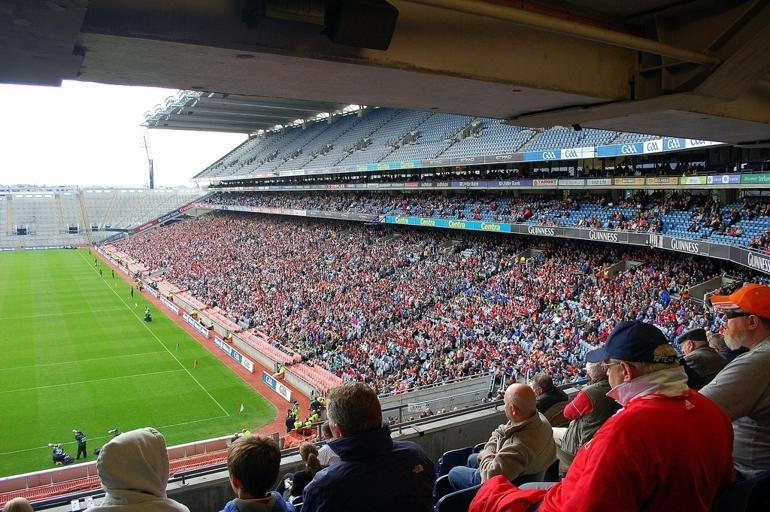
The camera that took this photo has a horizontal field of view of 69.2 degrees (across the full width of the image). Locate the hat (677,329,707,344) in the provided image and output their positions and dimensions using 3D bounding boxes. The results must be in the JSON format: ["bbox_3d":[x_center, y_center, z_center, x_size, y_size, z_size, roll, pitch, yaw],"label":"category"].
[{"bbox_3d":[3.275,0.848,5.954,0.197,0.090,0.249,-1,3,-30],"label":"hat"}]

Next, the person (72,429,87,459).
[{"bbox_3d":[-8.507,5.207,15.544,0.302,0.879,1.130,-5,10,-30],"label":"person"}]

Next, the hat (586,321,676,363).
[{"bbox_3d":[1.522,0.504,3.415,0.376,0.185,0.277,6,-2,40],"label":"hat"}]
